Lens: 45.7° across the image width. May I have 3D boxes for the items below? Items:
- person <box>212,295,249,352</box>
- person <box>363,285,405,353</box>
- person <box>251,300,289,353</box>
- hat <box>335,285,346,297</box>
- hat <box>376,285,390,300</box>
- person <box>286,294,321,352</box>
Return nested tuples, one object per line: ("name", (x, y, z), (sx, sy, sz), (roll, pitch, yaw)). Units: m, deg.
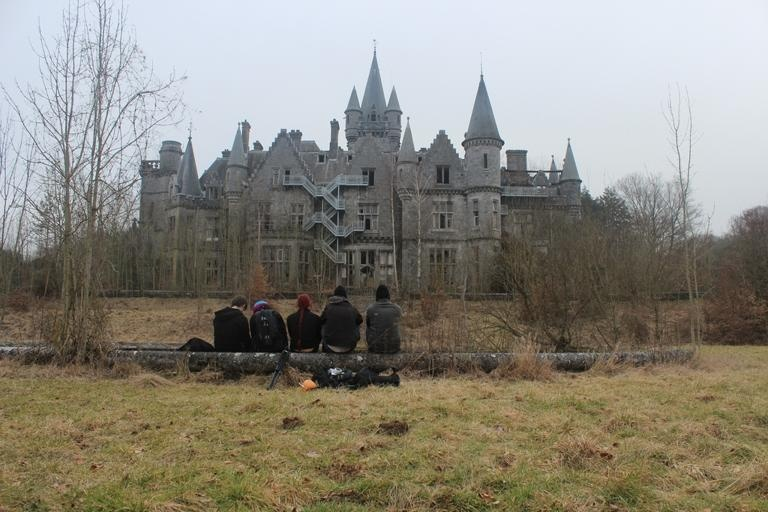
("person", (-4.009, 1.766, 24.070), (0.951, 1.482, 0.426), (0, -5, -8))
("person", (0.003, 1.660, 24.213), (0.928, 1.793, 0.543), (-1, -5, 1))
("person", (-3.172, 1.941, 25.187), (1.060, 1.557, 0.848), (2, -28, -17))
("hat", (-1.143, 0.917, 24.280), (0.244, 0.278, 0.313), (-1, 2, -8))
("hat", (-0.060, 0.966, 24.489), (0.381, 0.403, 0.315), (-2, 0, 9))
("person", (-2.104, 1.734, 24.089), (0.901, 1.542, 0.663), (-2, -5, 11))
